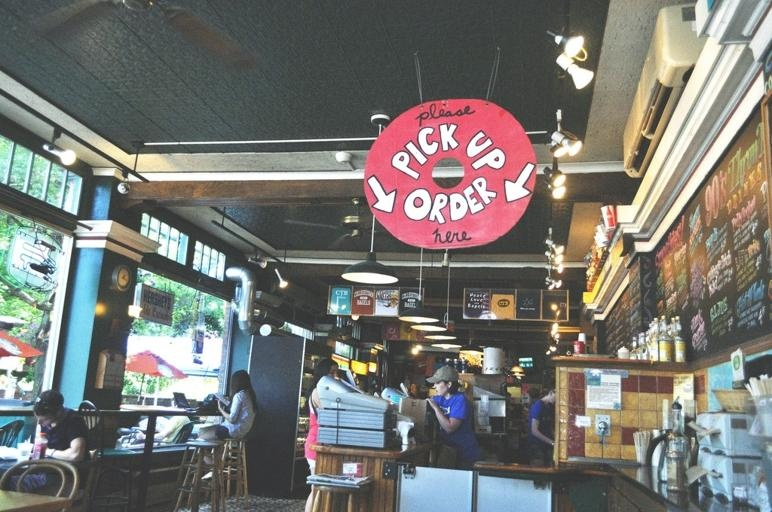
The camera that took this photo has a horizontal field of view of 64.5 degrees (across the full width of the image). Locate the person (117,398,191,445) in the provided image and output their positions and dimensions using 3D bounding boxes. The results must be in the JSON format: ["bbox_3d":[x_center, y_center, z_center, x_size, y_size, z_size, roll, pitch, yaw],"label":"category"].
[{"bbox_3d":[-3.708,2.791,9.970,1.471,0.339,0.981,-1,-34,8],"label":"person"}]

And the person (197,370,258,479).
[{"bbox_3d":[-2.412,2.487,9.147,0.857,1.541,0.579,2,-12,6],"label":"person"}]

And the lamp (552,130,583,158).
[{"bbox_3d":[1.799,-1.150,6.213,0.302,0.336,0.166,-10,-21,32],"label":"lamp"}]

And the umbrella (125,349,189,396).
[{"bbox_3d":[-3.700,1.832,9.744,0.609,0.703,1.035,-1,-18,7],"label":"umbrella"}]

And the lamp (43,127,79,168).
[{"bbox_3d":[-4.226,-1.430,7.933,0.278,0.534,0.183,-16,-37,-28],"label":"lamp"}]

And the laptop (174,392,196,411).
[{"bbox_3d":[-3.365,2.407,10.178,0.344,0.303,0.431,2,-21,3],"label":"laptop"}]

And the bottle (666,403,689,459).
[{"bbox_3d":[2.317,1.387,4.910,0.162,0.425,0.362,-7,-19,25],"label":"bottle"}]

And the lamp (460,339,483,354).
[{"bbox_3d":[3.063,3.258,22.224,0.856,0.513,0.848,10,-19,-29],"label":"lamp"}]

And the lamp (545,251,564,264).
[{"bbox_3d":[2.595,0.027,9.459,0.288,0.126,0.392,6,-5,18],"label":"lamp"}]

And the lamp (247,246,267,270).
[{"bbox_3d":[-2.490,0.007,12.057,0.470,0.409,0.356,5,-1,-33],"label":"lamp"}]

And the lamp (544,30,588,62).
[{"bbox_3d":[1.684,-1.969,5.712,0.193,0.352,0.229,-42,-48,2],"label":"lamp"}]

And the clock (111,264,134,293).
[{"bbox_3d":[-3.878,0.322,8.969,0.107,0.371,0.371,-3,-12,8],"label":"clock"}]

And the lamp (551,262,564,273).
[{"bbox_3d":[2.859,0.190,10.266,0.211,0.165,0.197,3,6,5],"label":"lamp"}]

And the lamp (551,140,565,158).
[{"bbox_3d":[1.764,-1.089,6.260,0.138,0.138,0.142,-2,-7,-28],"label":"lamp"}]

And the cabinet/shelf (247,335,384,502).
[{"bbox_3d":[-1.177,2.304,8.687,0.899,2.619,2.520,-3,3,13],"label":"cabinet/shelf"}]

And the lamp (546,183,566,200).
[{"bbox_3d":[1.921,-0.713,6.833,0.310,0.074,0.311,-12,-8,18],"label":"lamp"}]

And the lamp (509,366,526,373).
[{"bbox_3d":[4.550,3.916,21.129,0.388,0.116,0.387,5,-7,-17],"label":"lamp"}]

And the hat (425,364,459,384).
[{"bbox_3d":[0.739,1.512,7.817,0.350,0.206,0.247,-1,-19,1],"label":"hat"}]

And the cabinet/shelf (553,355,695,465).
[{"bbox_3d":[2.284,1.476,5.797,1.080,0.941,0.361,0,-11,5],"label":"cabinet/shelf"}]
